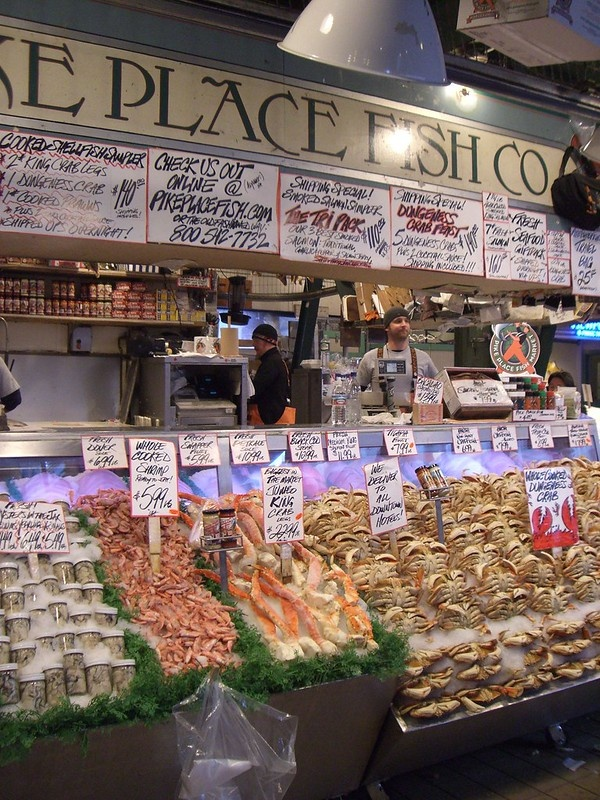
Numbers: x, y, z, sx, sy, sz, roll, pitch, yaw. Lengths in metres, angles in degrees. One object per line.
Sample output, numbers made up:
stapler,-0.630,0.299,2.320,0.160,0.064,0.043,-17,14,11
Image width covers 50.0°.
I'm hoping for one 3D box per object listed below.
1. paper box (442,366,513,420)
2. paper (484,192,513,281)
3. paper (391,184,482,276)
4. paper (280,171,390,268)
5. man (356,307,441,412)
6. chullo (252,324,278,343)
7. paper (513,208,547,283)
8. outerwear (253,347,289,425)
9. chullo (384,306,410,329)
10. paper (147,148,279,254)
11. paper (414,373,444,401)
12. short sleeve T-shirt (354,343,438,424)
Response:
paper box,0.855,-0.030,3.093,0.349,0.084,0.352,13,35,7
paper,0.885,-0.737,2.903,0.207,0.364,0.076,-3,-2,-39
paper,0.574,-0.711,2.728,0.528,0.322,0.020,0,8,-28
paper,0.129,-0.677,2.484,0.503,0.319,0.018,16,24,29
man,0.579,-0.140,3.875,0.577,0.758,0.410,-1,6,-3
chullo,-0.283,-0.527,5.164,0.176,0.118,0.173,7,3,14
paper,1.064,-0.727,3.007,0.342,0.358,0.007,-7,9,-40
outerwear,-0.236,0.013,5.020,0.332,0.862,0.395,0,14,-4
chullo,0.618,-0.513,4.026,0.130,0.135,0.165,0,-15,-21
paper,-0.313,-0.697,2.227,0.412,0.249,0.016,-1,2,-28
paper,0.589,-0.054,2.941,0.165,0.154,0.013,0,0,-14
short sleeve T-shirt,0.563,-0.075,3.663,0.493,0.451,0.297,3,1,-5
